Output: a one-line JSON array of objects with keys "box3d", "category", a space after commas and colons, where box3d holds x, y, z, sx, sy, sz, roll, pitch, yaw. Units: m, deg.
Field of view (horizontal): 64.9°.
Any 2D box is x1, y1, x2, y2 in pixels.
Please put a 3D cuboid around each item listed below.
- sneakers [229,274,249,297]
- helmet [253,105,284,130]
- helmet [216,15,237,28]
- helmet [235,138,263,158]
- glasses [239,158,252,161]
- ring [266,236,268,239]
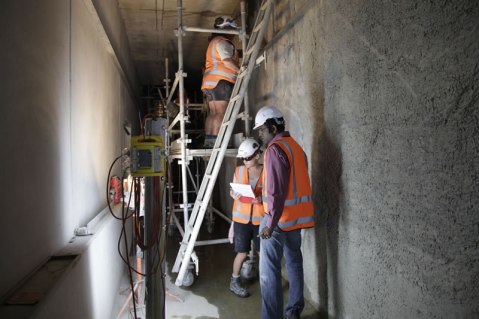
[{"box3d": [-0.009, 1.529, 4.596, 0.119, 0.212, 0.311, -2, 4, -34], "category": "sneakers"}, {"box3d": [0.319, -0.449, 3.986, 0.260, 0.191, 0.201, -2, 8, -1], "category": "helmet"}, {"box3d": [-0.178, -1.857, 5.185, 0.275, 0.168, 0.225, 5, 19, 13], "category": "helmet"}, {"box3d": [0.100, -0.125, 4.436, 0.174, 0.151, 0.253, -2, 24, 44], "category": "helmet"}, {"box3d": [0.061, -0.010, 4.511, 0.064, 0.035, 0.199, -6, 7, -24], "category": "glasses"}, {"box3d": [0.262, 0.745, 3.603, 0.026, 0.016, 0.039, -3, -5, 1], "category": "ring"}]
